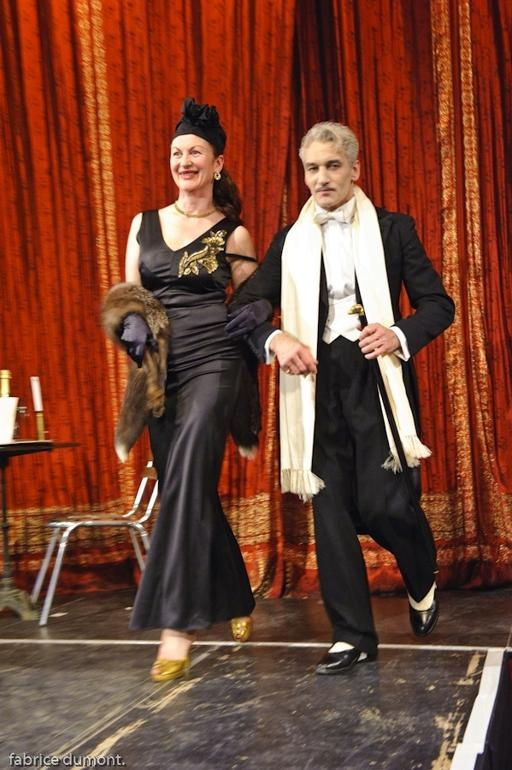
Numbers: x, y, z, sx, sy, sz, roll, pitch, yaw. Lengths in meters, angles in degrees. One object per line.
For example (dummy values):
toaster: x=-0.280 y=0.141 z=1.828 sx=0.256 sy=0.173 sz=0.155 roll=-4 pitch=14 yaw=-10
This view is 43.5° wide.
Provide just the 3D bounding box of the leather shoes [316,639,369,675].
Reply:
leather shoes: x=0.213 y=0.678 z=1.595 sx=0.055 sy=0.058 sz=0.155 roll=-17 pitch=-18 yaw=37

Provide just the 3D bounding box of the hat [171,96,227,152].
hat: x=-0.165 y=-0.785 z=1.935 sx=0.158 sy=0.129 sz=0.180 roll=7 pitch=-11 yaw=2

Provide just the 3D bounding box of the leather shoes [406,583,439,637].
leather shoes: x=0.475 y=0.646 z=1.838 sx=0.063 sy=0.178 sz=0.075 roll=2 pitch=5 yaw=42

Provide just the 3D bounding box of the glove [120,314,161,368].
glove: x=-0.327 y=-0.128 z=1.789 sx=0.032 sy=0.128 sz=0.118 roll=-2 pitch=3 yaw=42

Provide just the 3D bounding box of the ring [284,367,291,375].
ring: x=0.080 y=-0.037 z=1.648 sx=0.015 sy=0.006 sz=0.020 roll=23 pitch=-14 yaw=-7

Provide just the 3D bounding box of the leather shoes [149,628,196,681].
leather shoes: x=-0.214 y=0.663 z=1.570 sx=0.065 sy=0.103 sz=0.122 roll=-6 pitch=7 yaw=21

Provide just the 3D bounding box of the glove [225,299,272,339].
glove: x=-0.022 y=-0.175 z=1.793 sx=0.134 sy=0.086 sz=0.039 roll=-27 pitch=-35 yaw=13

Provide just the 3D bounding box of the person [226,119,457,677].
person: x=0.263 y=0.005 z=1.765 sx=0.583 sy=1.454 sz=0.546 roll=-10 pitch=7 yaw=-15

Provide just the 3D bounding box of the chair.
chair: x=-0.788 y=0.654 z=2.879 sx=0.521 sy=0.715 sz=0.583 roll=1 pitch=-7 yaw=-5
